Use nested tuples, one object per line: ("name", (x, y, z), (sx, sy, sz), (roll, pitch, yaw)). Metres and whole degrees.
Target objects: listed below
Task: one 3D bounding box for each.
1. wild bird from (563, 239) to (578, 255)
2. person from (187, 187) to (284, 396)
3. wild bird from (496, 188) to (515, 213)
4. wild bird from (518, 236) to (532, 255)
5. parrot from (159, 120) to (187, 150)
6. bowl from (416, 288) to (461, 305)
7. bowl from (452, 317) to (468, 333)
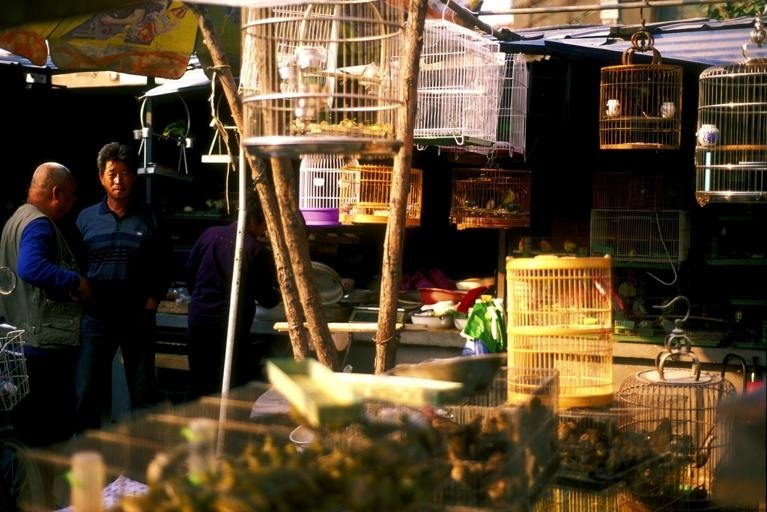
("wild bird", (1.809, -0.082, 7.701), (0.203, 0.146, 0.180), (-1, -1, 30))
("person", (-1.203, 0.334, 6.125), (0.723, 1.650, 0.615), (0, 3, -6))
("wild bird", (1.146, -0.503, 7.352), (0.173, 0.208, 0.124), (1, 3, 7))
("wild bird", (1.346, -0.100, 7.552), (0.132, 0.151, 0.551), (1, 4, 9))
("parrot", (-2.151, -1.256, 8.085), (0.263, 0.241, 0.424), (0, 4, -13))
("bowl", (0.495, 0.368, 7.224), (0.501, 0.141, 0.252), (3, 4, 37))
("bowl", (0.621, 0.573, 6.566), (0.116, 0.084, 0.114), (0, 6, 0))
